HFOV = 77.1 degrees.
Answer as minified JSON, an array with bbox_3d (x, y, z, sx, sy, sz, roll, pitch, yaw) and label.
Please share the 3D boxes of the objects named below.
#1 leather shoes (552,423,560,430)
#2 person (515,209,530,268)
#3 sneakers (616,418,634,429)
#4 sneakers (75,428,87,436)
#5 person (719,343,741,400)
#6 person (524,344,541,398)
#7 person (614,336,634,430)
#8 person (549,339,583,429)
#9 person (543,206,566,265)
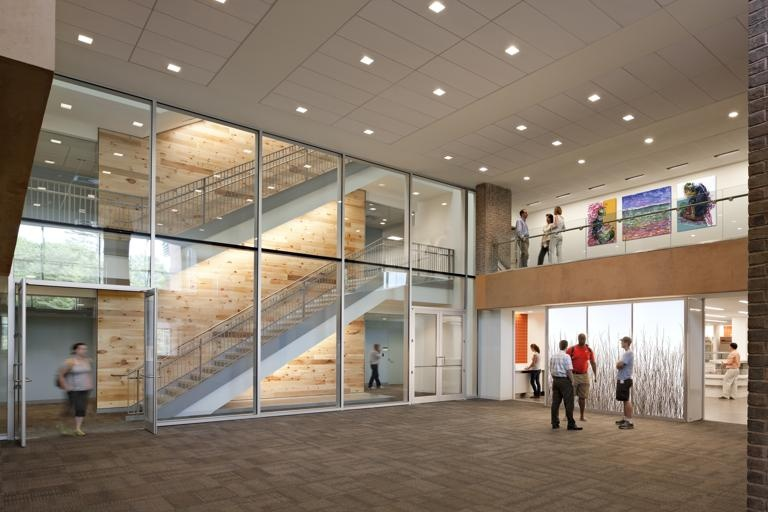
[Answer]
[{"bbox_3d":[3.731,3.706,10.526,0.164,0.109,0.317,-4,-11,17],"label":"leather shoes"},{"bbox_3d":[4.241,-0.429,14.794,0.406,1.581,0.302,-4,-12,13],"label":"person"},{"bbox_3d":[5.332,3.738,10.855,0.171,0.203,0.504,3,-2,-10],"label":"sneakers"},{"bbox_3d":[-5.923,3.464,9.479,0.181,0.101,0.226,5,-12,-31],"label":"sneakers"},{"bbox_3d":[11.082,3.735,15.604,0.651,1.807,1.578,-9,-13,32],"label":"person"},{"bbox_3d":[4.907,3.768,15.893,0.528,1.724,1.428,-5,-12,16],"label":"person"},{"bbox_3d":[5.593,2.911,11.312,0.494,1.995,1.338,-7,-12,25],"label":"person"},{"bbox_3d":[4.009,2.881,10.894,0.618,1.905,0.799,-5,-12,19],"label":"person"},{"bbox_3d":[4.932,-0.477,13.885,0.164,1.330,0.613,9,-15,-41],"label":"person"}]
